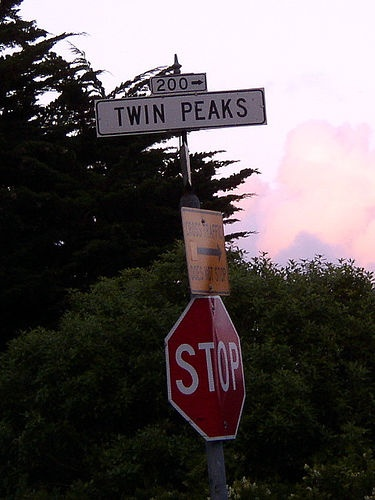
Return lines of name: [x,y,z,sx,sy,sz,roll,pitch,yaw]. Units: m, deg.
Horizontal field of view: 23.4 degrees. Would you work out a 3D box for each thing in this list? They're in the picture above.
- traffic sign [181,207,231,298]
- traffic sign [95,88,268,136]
traffic sign: [0.168,-0.005,8.975,0.259,0.890,0.623,-7,-7,39]
traffic sign: [-0.036,-1.483,9.580,1.834,0.024,0.447,-5,-51,-5]
